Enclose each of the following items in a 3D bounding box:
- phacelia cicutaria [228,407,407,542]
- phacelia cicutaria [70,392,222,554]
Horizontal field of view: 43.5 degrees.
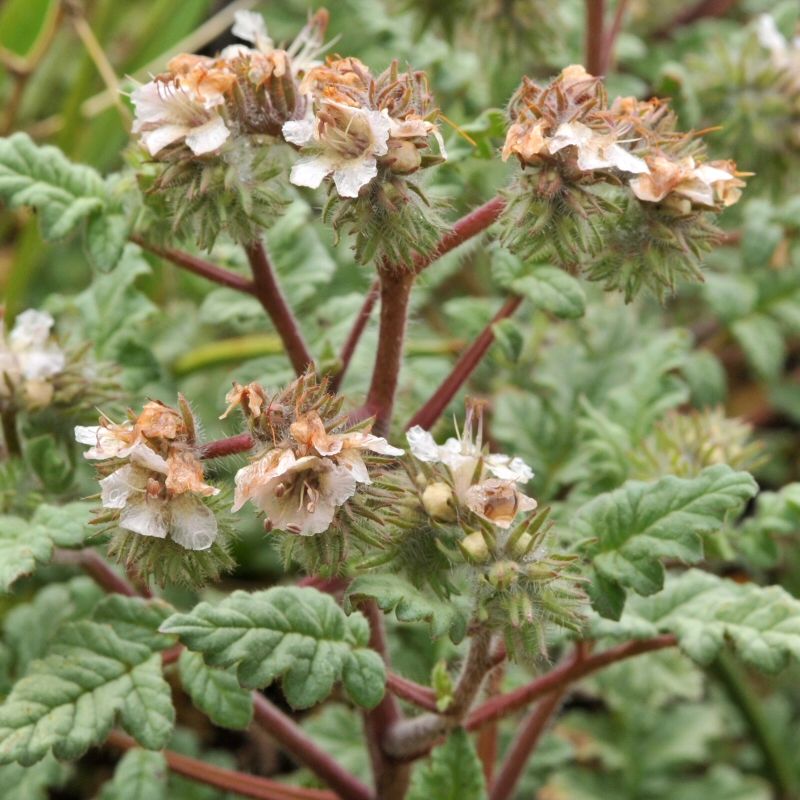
[{"bbox_3d":[-0.138,0.122,1.722,0.285,0.213,0.140,3,11,-16],"label":"phacelia cicutaria"},{"bbox_3d":[-0.431,0.137,1.791,0.281,0.221,0.148,23,-16,-4],"label":"phacelia cicutaria"}]
